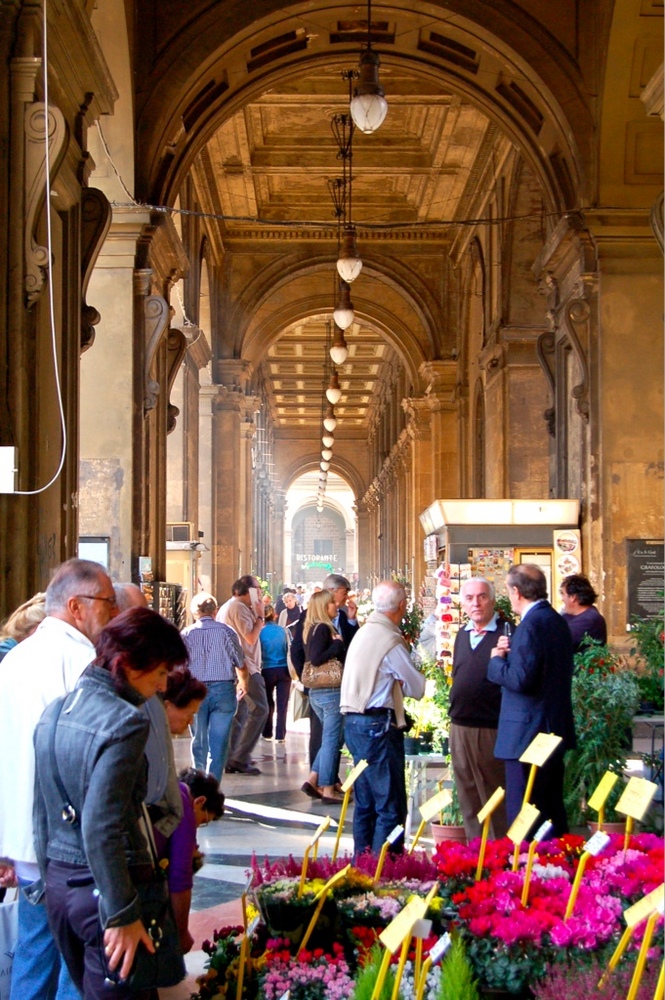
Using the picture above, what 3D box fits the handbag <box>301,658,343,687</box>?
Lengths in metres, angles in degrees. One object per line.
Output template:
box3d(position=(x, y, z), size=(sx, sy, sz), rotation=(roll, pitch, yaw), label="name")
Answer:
box3d(position=(-0.071, 1.384, 8.150), size=(0.344, 0.352, 0.206), rotation=(-1, -10, 6), label="handbag")

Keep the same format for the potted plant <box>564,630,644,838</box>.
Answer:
box3d(position=(1.702, 1.471, 6.457), size=(0.462, 1.134, 0.705), rotation=(-4, -8, 23), label="potted plant")

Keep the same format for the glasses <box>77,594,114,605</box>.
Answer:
box3d(position=(-0.621, 0.267, 2.730), size=(0.039, 0.024, 0.112), rotation=(-5, -8, 24), label="glasses")
